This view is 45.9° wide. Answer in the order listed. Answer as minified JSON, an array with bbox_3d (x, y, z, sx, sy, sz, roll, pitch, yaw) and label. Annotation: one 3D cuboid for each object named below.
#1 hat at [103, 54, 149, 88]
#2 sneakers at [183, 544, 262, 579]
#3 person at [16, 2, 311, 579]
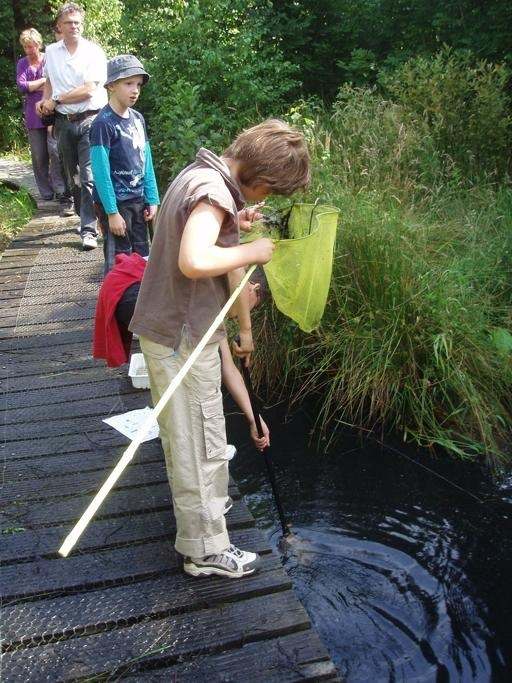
[{"bbox_3d":[-0.728,-1.522,3.404,0.195,0.108,0.221,-11,1,-7],"label":"hat"},{"bbox_3d":[-0.109,0.686,1.956,0.252,0.111,0.094,-2,5,-6],"label":"sneakers"},{"bbox_3d":[-0.090,0.058,1.868,0.500,1.386,1.018,3,22,15],"label":"person"}]
